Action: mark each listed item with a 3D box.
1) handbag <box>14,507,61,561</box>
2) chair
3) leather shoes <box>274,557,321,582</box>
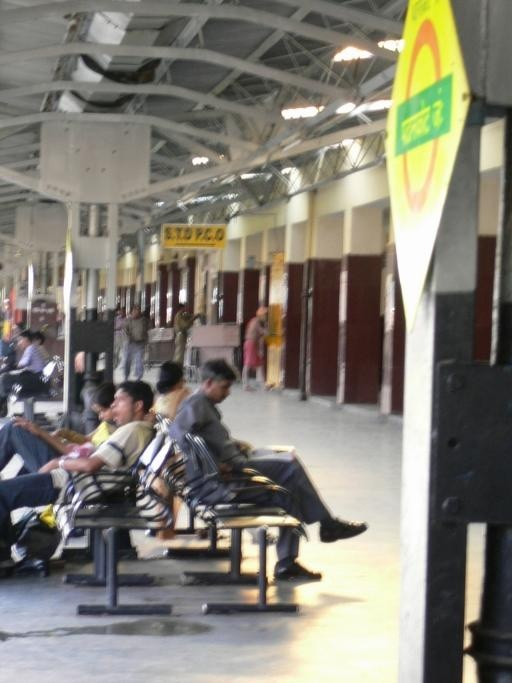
[{"bbox_3d":[-1.204,1.099,4.832,0.334,0.285,0.223,3,-12,-1],"label":"handbag"},{"bbox_3d":[-0.584,0.669,4.270,1.291,0.543,1.286,-1,3,-7],"label":"chair"},{"bbox_3d":[0.218,1.278,4.765,0.313,0.118,0.100,0,2,-1],"label":"leather shoes"}]
